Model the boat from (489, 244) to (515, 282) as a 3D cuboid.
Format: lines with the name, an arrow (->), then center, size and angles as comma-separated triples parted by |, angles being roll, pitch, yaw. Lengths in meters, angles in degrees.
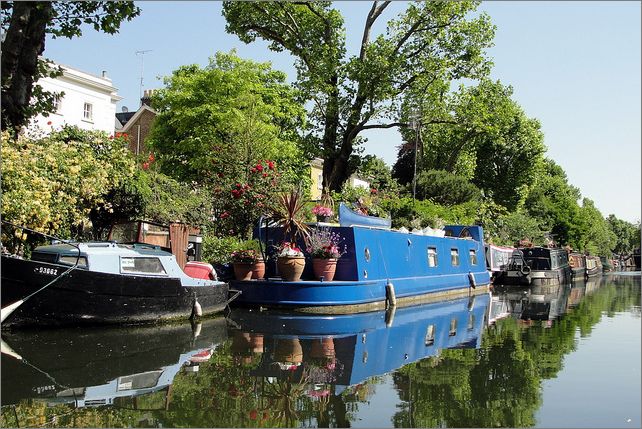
boat -> 10.465, 2.370, 29.574 | 1.064, 1.788, 3.969 | 1, 4, 25

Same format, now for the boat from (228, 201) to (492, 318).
boat -> 2.743, 1.887, 19.818 | 3.383, 2.874, 12.047 | -3, -10, 30

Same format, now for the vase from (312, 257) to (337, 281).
vase -> 0.107, 1.558, 15.358 | 0.639, 0.515, 0.642 | 3, -12, -15

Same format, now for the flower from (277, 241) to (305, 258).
flower -> -0.895, 1.007, 15.468 | 0.700, 0.396, 0.954 | 2, 2, -6

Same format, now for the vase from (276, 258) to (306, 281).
vase -> -0.856, 1.504, 15.155 | 0.688, 0.548, 0.689 | 0, 0, -36

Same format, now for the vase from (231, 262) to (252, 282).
vase -> -2.398, 1.721, 16.091 | 0.527, 0.392, 0.515 | 11, -14, -40

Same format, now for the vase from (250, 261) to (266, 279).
vase -> -1.901, 1.667, 16.209 | 0.464, 0.464, 0.479 | -2, -7, 18

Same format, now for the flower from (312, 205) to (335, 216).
flower -> 0.040, -0.107, 16.210 | 0.542, 0.302, 0.756 | 2, 2, -7

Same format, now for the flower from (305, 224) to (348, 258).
flower -> 0.139, 0.779, 15.566 | 0.960, 0.690, 0.992 | 4, -10, -6

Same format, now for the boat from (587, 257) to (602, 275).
boat -> 25.963, 4.880, 50.695 | 1.383, 1.702, 5.951 | -5, -11, 22

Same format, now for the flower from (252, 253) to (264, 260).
flower -> -1.933, 1.291, 16.349 | 0.214, 0.219, 0.145 | -8, 2, -4

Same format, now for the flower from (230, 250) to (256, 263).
flower -> -2.360, 1.274, 16.278 | 0.849, 0.406, 0.455 | 3, 2, 1
